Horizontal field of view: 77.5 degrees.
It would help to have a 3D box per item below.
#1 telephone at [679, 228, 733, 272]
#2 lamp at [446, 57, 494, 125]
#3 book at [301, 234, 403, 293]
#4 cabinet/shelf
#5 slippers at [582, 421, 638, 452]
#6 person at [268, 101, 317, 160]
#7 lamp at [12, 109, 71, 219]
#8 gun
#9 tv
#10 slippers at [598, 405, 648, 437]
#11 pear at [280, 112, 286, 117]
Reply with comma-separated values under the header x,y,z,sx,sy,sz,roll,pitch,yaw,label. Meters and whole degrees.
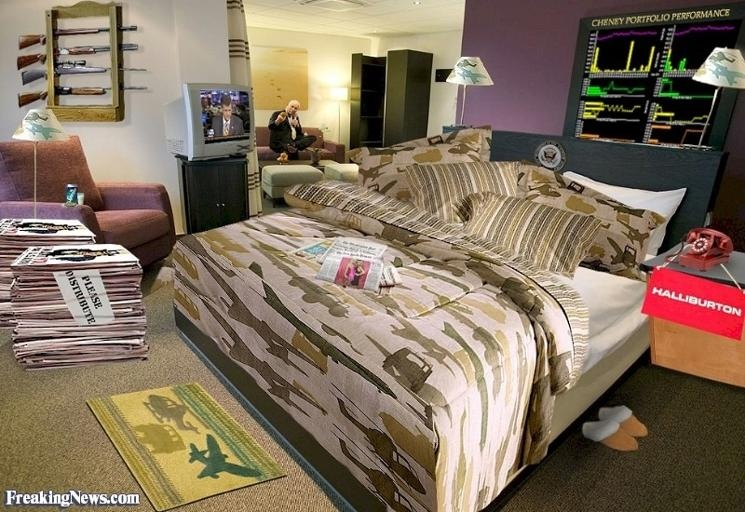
x,y,z,sx,sy,sz,roll,pitch,yaw,label
1.885,-0.043,2.613,0.265,0.175,0.258,2,22,36,telephone
0.921,-1.578,4.541,0.488,0.652,0.421,18,30,27,lamp
-0.082,0.046,2.596,0.400,0.029,0.389,-5,32,-18,book
-1.659,-0.654,4.766,0.619,0.780,0.547,-13,35,-31,cabinet/shelf
1.354,1.018,2.656,0.277,0.099,0.149,7,23,32,slippers
-1.396,-2.109,7.659,0.707,0.855,0.739,14,15,29,person
-2.640,-0.767,3.717,0.345,0.787,0.570,-15,29,-34,lamp
-2.870,-1.846,4.394,1.141,0.597,0.352,-2,7,-8,gun
-1.660,-1.327,4.614,0.601,0.622,0.838,11,21,30,tv
1.498,0.966,2.760,0.139,0.102,0.263,-30,37,-33,slippers
-1.458,-2.310,7.604,0.082,0.060,0.110,-2,23,-9,pear
